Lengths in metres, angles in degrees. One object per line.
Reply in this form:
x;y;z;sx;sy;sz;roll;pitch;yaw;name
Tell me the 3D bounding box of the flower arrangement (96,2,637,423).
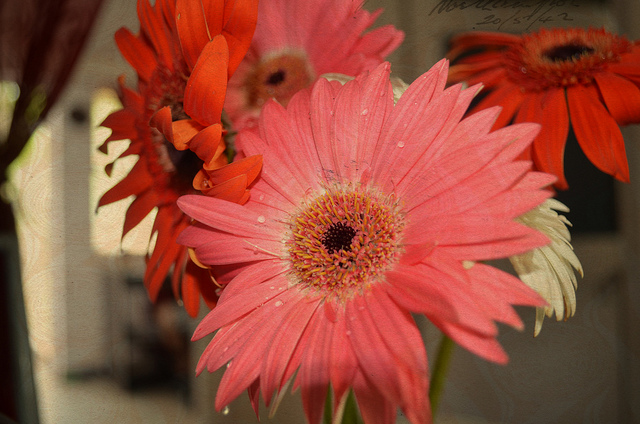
0.077;0.005;0.929;0.519;0.508;0.517;-4;-25;10;flower arrangement
